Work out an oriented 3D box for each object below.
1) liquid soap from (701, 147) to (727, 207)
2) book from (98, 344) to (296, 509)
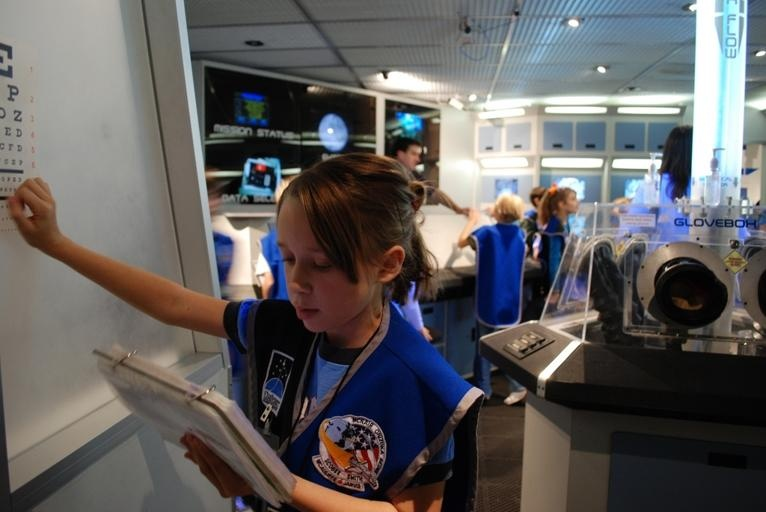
[{"bbox_3d":[1.373,-0.345,2.239,0.083,0.205,0.238,6,16,29],"label":"liquid soap"},{"bbox_3d":[-0.544,0.495,1.518,0.667,0.462,0.142,23,59,36],"label":"book"}]
